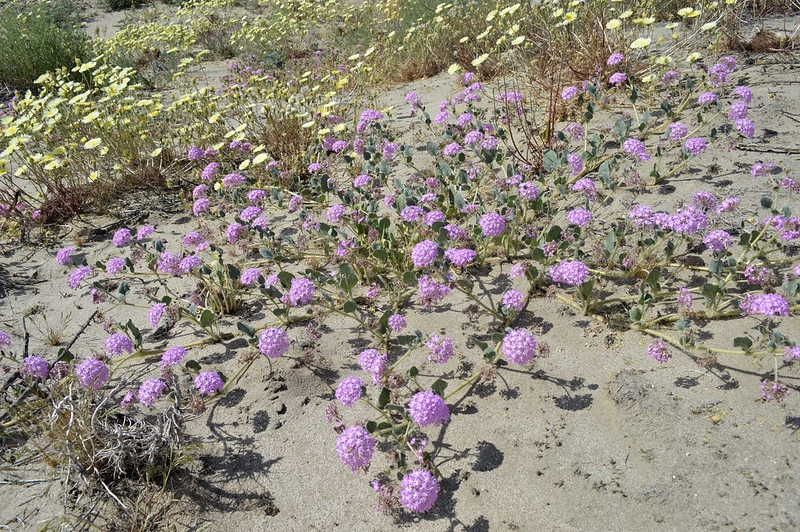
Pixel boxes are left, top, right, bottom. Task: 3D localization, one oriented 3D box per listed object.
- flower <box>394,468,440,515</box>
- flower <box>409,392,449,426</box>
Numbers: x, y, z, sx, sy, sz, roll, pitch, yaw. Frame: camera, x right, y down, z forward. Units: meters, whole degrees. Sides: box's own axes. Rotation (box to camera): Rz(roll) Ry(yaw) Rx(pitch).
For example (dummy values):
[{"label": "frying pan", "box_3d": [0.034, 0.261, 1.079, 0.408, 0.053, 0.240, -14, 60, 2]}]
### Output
[{"label": "flower", "box_3d": [0.131, 1.702, 5.621, 0.234, 0.224, 0.261, 15, 43, 36]}, {"label": "flower", "box_3d": [0.229, 1.125, 5.769, 0.269, 0.272, 0.172, 0, 14, 11]}]
